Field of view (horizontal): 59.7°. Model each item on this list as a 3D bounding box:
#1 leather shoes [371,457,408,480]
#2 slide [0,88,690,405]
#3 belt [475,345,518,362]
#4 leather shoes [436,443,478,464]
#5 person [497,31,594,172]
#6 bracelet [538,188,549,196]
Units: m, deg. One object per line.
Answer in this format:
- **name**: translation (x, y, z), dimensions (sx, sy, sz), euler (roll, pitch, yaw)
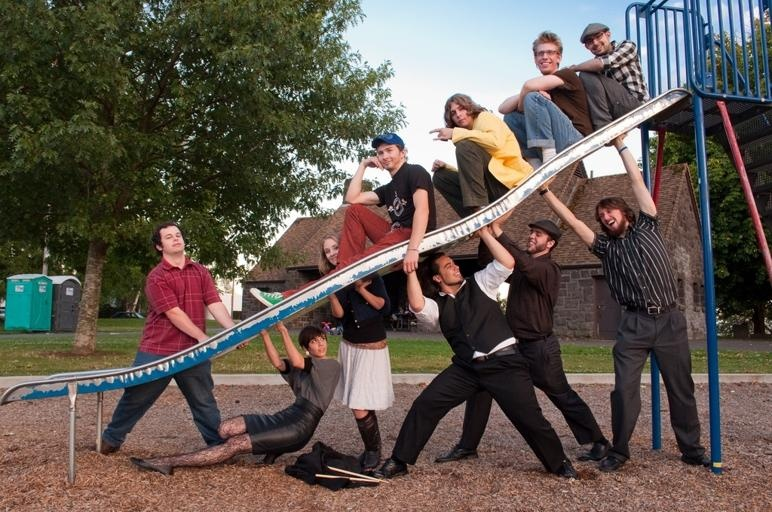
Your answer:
- **leather shoes**: translation (0.054, 2.435, 7.733), dimensions (0.416, 0.204, 0.166), euler (5, -11, -28)
- **slide**: translation (-1.043, -0.261, 11.657), dimensions (15.846, 1.382, 1.223), euler (-23, -2, 4)
- **belt**: translation (1.257, 1.099, 7.599), dimensions (0.319, 0.078, 0.239), euler (-18, -8, 6)
- **leather shoes**: translation (0.875, 2.455, 8.363), dimensions (0.560, 0.221, 0.191), euler (3, -12, -13)
- **person**: translation (1.985, -1.870, 8.254), dimensions (1.093, 1.727, 1.201), euler (4, 1, 7)
- **bracelet**: translation (1.820, -0.752, 7.796), dimensions (0.115, 0.052, 0.132), euler (-1, -7, 8)
